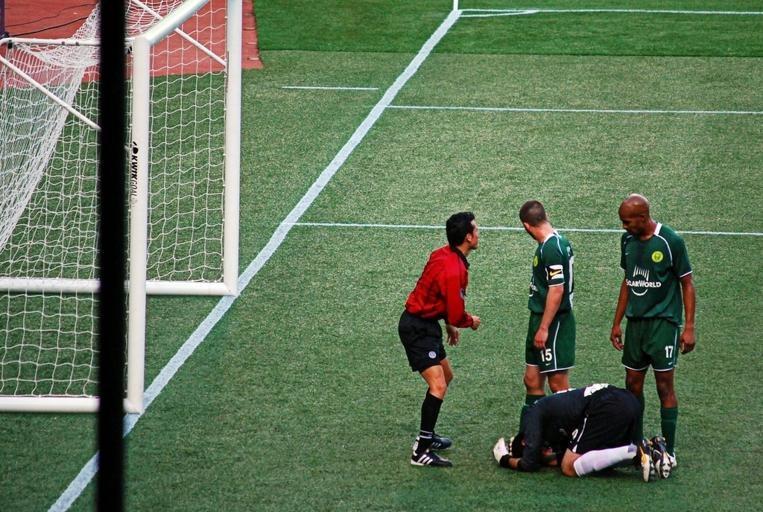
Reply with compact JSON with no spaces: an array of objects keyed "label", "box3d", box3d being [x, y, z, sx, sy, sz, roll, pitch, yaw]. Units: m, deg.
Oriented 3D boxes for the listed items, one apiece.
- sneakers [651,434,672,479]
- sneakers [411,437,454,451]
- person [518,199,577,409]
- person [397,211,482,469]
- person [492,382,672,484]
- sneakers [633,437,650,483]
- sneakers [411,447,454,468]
[{"label":"sneakers","box3d":[2.900,2.084,12.861,0.176,0.441,0.206,-9,-1,-3]},{"label":"sneakers","box3d":[0.544,1.977,13.238,0.448,0.177,0.155,-4,20,-11]},{"label":"person","box3d":[1.728,0.520,13.082,0.598,2.136,0.486,3,10,19]},{"label":"person","box3d":[0.624,0.869,13.171,0.814,2.626,0.721,-2,9,-13]},{"label":"person","box3d":[2.054,1.835,12.878,1.588,0.753,0.895,0,-6,20]},{"label":"sneakers","box3d":[2.689,2.111,12.830,0.153,0.386,0.182,-8,-6,-35]},{"label":"sneakers","box3d":[0.542,2.128,13.096,0.491,0.194,0.169,1,7,-1]}]
